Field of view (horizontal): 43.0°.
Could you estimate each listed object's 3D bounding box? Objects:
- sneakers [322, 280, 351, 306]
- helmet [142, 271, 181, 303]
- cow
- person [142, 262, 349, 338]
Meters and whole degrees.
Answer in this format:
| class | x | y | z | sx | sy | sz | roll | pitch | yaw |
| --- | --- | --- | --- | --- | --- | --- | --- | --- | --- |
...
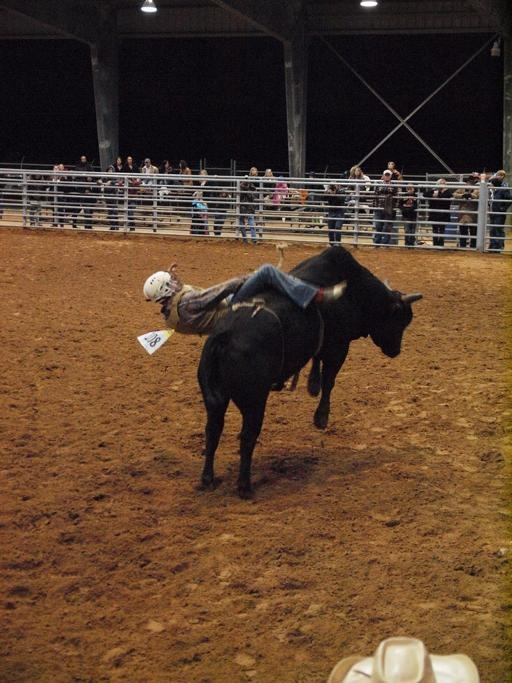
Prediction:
| class | x | y | z | sx | sy | sz | roll | pitch | yaw |
| --- | --- | --- | --- | --- | --- | --- | --- | --- | --- |
| sneakers | 0.502 | -0.313 | 4.222 | 0.153 | 0.048 | 0.169 | -30 | -11 | 12 |
| helmet | -0.637 | -0.347 | 4.221 | 0.199 | 0.221 | 0.162 | 22 | 37 | -39 |
| cow | 0.419 | 0.061 | 4.671 | 2.032 | 1.259 | 0.548 | -21 | 32 | -37 |
| person | -0.007 | -0.313 | 4.360 | 1.445 | 0.544 | 0.483 | -4 | 6 | -7 |
